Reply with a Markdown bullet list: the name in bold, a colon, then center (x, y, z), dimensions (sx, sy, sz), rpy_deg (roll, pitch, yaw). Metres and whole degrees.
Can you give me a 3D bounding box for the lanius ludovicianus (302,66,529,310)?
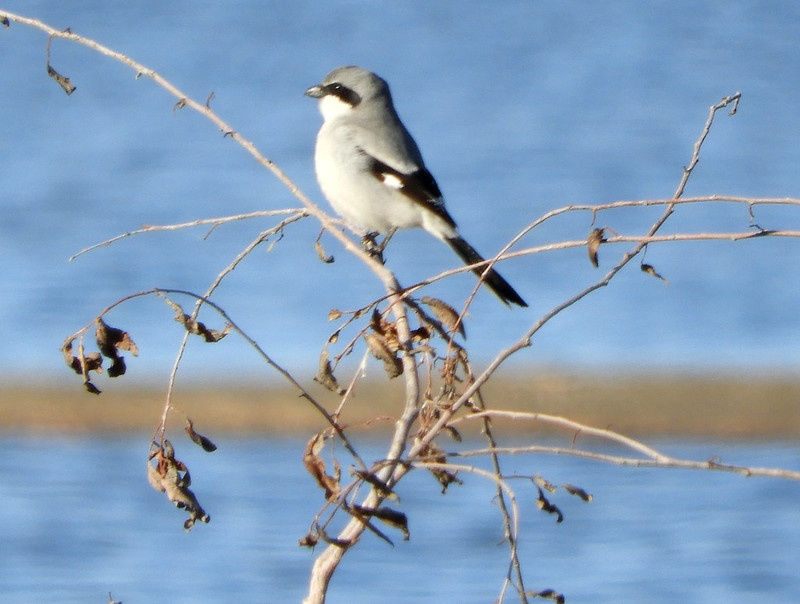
- **lanius ludovicianus**: center (-0.082, -0.757, 8.140), dimensions (0.899, 1.246, 0.404), rpy_deg (-3, -17, 5)
